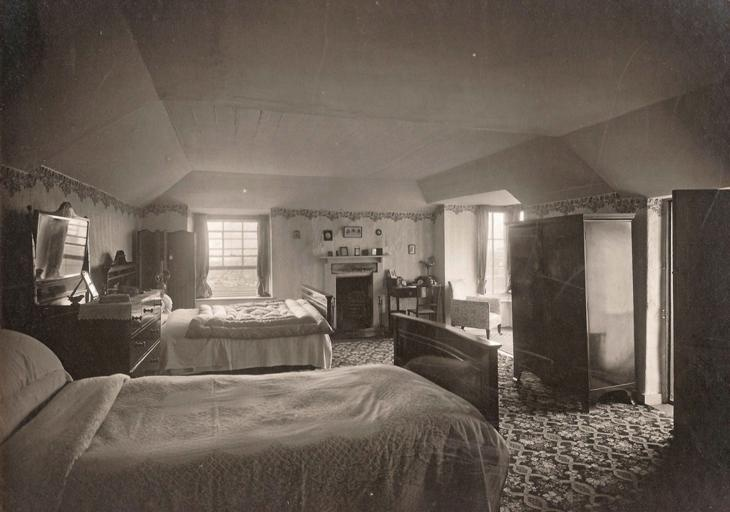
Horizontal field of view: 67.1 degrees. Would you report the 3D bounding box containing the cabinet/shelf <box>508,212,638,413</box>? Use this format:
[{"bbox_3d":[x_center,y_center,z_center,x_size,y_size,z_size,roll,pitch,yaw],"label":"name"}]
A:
[{"bbox_3d":[1.721,0.463,4.436,0.621,1.964,1.404,1,-3,-10],"label":"cabinet/shelf"}]
